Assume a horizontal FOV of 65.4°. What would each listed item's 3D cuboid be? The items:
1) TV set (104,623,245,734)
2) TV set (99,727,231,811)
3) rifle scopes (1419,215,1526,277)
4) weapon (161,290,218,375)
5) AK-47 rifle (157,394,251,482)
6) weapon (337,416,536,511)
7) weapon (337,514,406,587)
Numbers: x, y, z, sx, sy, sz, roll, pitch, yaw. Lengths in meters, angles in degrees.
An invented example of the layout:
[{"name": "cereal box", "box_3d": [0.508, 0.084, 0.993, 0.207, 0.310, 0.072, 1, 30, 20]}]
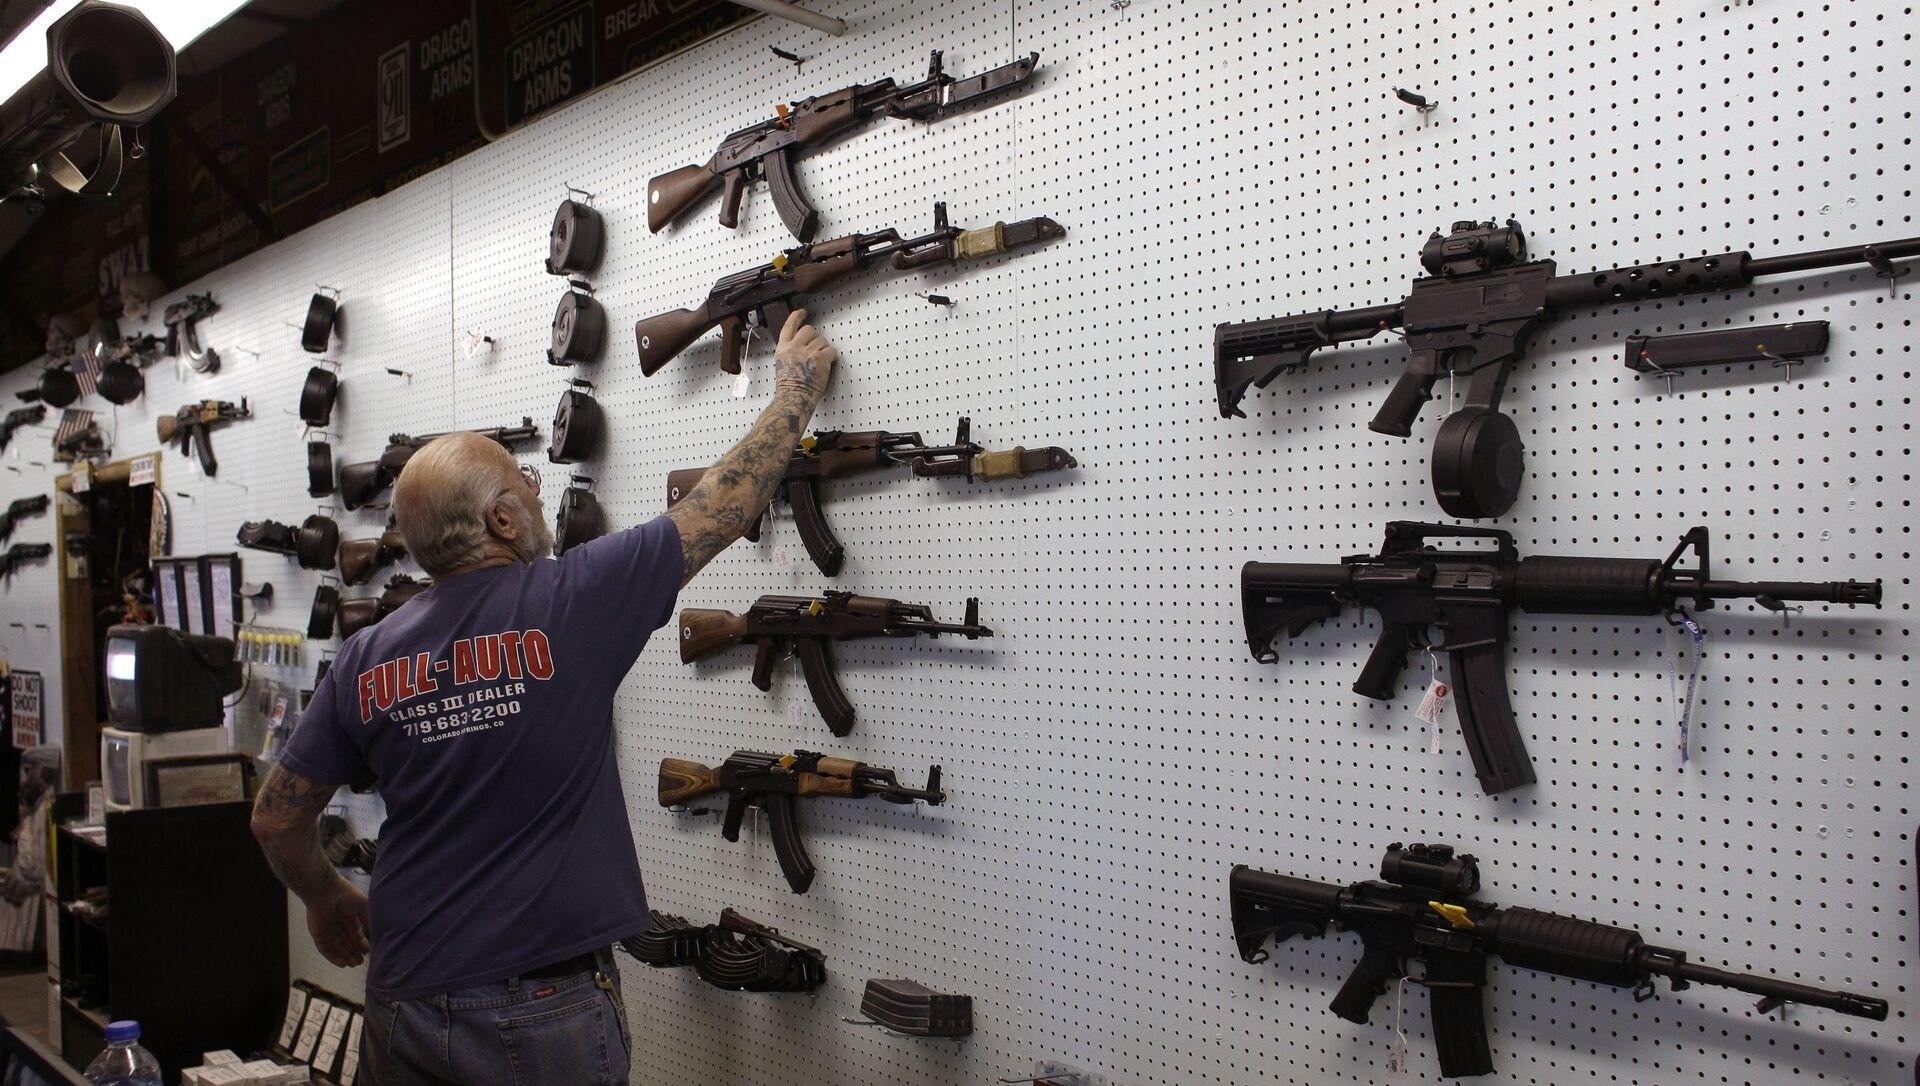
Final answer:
[{"name": "TV set", "box_3d": [-4.107, 0.714, 7.678, 0.422, 0.586, 0.670, 0, -1, 30]}, {"name": "TV set", "box_3d": [-4.072, 1.122, 7.683, 0.479, 0.381, 0.452, 0, -4, -39]}, {"name": "rifle scopes", "box_3d": [1.837, -1.059, 5.373, 0.317, 0.172, 0.192, 2, 12, 34]}, {"name": "weapon", "box_3d": [-4.941, -1.317, 9.613, 0.660, 0.490, 0.152, -3, -10, 42]}, {"name": "AK-47 rifle", "box_3d": [-4.730, -0.653, 9.368, 0.879, 0.471, 0.172, -3, -10, 44]}, {"name": "weapon", "box_3d": [-2.752, -0.403, 7.840, 1.347, 0.422, 0.109, -6, -7, 23]}, {"name": "weapon", "box_3d": [-3.098, 0.058, 7.899, 0.606, 0.243, 0.166, -27, -22, 37]}]
